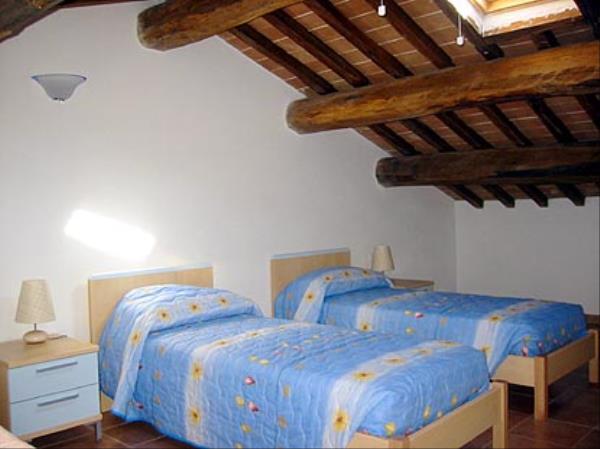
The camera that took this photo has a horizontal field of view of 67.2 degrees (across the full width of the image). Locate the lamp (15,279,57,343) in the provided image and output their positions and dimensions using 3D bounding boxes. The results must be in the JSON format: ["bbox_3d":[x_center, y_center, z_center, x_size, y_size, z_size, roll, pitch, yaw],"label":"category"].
[{"bbox_3d":[-1.771,0.582,3.016,0.213,0.435,0.322,-3,3,-32],"label":"lamp"}]

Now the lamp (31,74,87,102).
[{"bbox_3d":[-1.667,-0.966,3.132,0.392,0.170,0.182,-4,14,-11],"label":"lamp"}]

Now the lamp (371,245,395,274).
[{"bbox_3d":[0.923,0.401,5.137,0.312,0.348,0.296,-2,0,-16],"label":"lamp"}]
